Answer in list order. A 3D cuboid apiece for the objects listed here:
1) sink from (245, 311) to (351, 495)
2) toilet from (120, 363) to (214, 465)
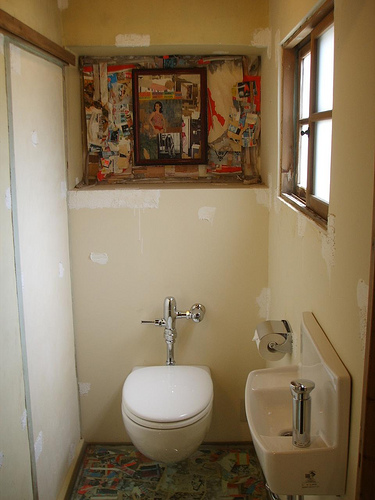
[{"bbox_3d":[0.258,0.368,1.035,0.204,0.349,0.518,1,10,7],"label":"sink"},{"bbox_3d":[-0.086,0.728,1.742,0.393,0.257,0.442,-1,10,-3],"label":"toilet"}]
